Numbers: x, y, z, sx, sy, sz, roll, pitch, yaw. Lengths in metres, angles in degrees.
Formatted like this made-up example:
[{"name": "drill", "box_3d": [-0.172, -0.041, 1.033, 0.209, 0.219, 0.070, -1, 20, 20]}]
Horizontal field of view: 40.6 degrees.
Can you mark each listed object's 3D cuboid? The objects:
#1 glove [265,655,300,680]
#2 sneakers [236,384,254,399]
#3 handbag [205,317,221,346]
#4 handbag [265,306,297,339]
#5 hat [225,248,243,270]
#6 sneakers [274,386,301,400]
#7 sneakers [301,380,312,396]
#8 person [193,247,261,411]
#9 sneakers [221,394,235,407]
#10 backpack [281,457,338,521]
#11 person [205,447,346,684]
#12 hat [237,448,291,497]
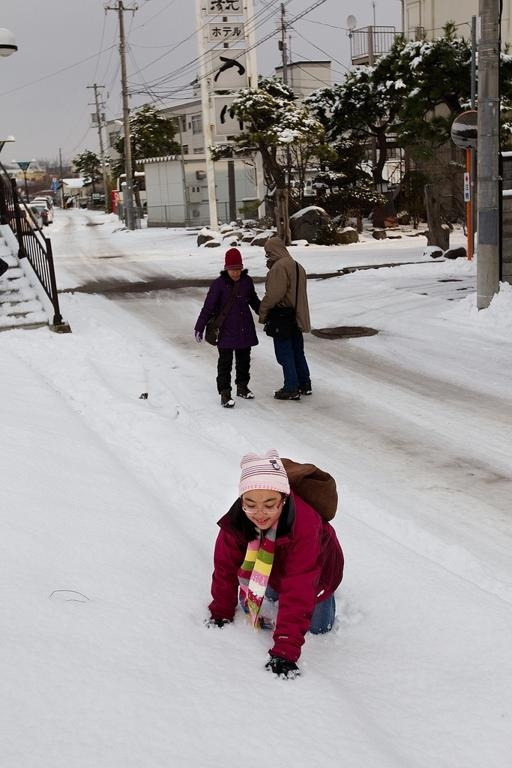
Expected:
[{"name": "glove", "box_3d": [0.110, 1.089, 2.645, 0.068, 0.036, 0.108, 18, -2, -27]}, {"name": "sneakers", "box_3d": [-0.122, 0.085, 7.467, 0.089, 0.160, 0.237, -2, 1, -26]}, {"name": "handbag", "box_3d": [-0.457, -0.541, 7.204, 0.128, 0.282, 0.191, -1, 13, -28]}, {"name": "handbag", "box_3d": [0.270, -0.667, 7.274, 0.316, 0.419, 0.195, 0, -11, 10]}, {"name": "hat", "box_3d": [-0.237, -1.289, 7.142, 0.212, 0.223, 0.233, -5, 13, -10]}, {"name": "sneakers", "box_3d": [0.342, 0.095, 7.361, 0.259, 0.171, 0.125, 5, 8, 8]}, {"name": "sneakers", "box_3d": [0.543, 0.038, 7.529, 0.157, 0.195, 0.461, 0, 2, -1]}, {"name": "person", "box_3d": [-0.274, -0.613, 7.281, 0.573, 1.592, 0.675, 10, 12, 20]}, {"name": "sneakers", "box_3d": [-0.271, 0.173, 7.104, 0.150, 0.129, 0.170, 3, 11, -14]}, {"name": "backpack", "box_3d": [0.253, 0.437, 2.833, 0.251, 0.106, 0.191, 34, 6, -32]}, {"name": "person", "box_3d": [0.027, 0.650, 2.737, 0.553, 0.755, 0.819, 0, 27, 14]}, {"name": "hat", "box_3d": [0.025, 0.326, 2.616, 0.133, 0.134, 0.187, -3, -10, -2]}]
